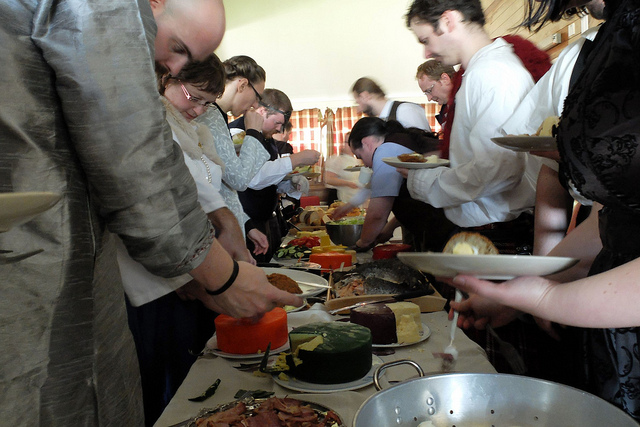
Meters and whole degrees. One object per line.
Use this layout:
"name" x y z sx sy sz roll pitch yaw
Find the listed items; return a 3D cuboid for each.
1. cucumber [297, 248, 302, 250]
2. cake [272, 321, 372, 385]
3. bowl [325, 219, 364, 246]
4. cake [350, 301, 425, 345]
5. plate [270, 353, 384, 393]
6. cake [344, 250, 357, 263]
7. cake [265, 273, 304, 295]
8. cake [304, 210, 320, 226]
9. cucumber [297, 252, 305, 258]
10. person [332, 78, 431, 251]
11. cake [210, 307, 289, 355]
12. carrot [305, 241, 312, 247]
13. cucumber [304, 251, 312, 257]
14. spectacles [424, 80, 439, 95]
"cucumber" -0.138 0.239 2.901 0.016 0.004 0.034 -25 28 -35
"cake" 0.024 0.405 1.290 0.267 0.091 0.262 0 5 13
"bowl" 0.229 0.178 3.468 0.362 0.191 0.329 3 3 0
"cake" 0.235 0.374 1.522 0.243 0.089 0.271 -2 1 40
"plate" 0.027 0.465 1.291 0.357 0.032 0.331 -2 5 6
"cake" 0.201 0.261 2.609 0.083 0.062 0.072 -3 3 -16
"cake" -0.153 0.317 1.913 0.170 0.048 0.119 27 -1 -41
"cake" -0.073 0.051 4.273 0.158 0.135 0.199 -11 24 -5
"cucumber" -0.128 0.276 2.823 0.032 0.033 0.050 7 28 31
"person" 0.635 -0.443 3.648 0.550 1.305 0.797 -16 -2 39
"cake" -0.199 0.389 1.484 0.316 0.116 0.295 -7 -10 6
"carrot" -0.079 0.214 3.040 0.036 0.012 0.031 -2 60 7
"cucumber" -0.082 0.264 2.845 0.038 0.010 0.036 6 21 -25
"spectacles" 0.883 -0.996 3.370 0.094 0.028 0.091 -39 7 -11
